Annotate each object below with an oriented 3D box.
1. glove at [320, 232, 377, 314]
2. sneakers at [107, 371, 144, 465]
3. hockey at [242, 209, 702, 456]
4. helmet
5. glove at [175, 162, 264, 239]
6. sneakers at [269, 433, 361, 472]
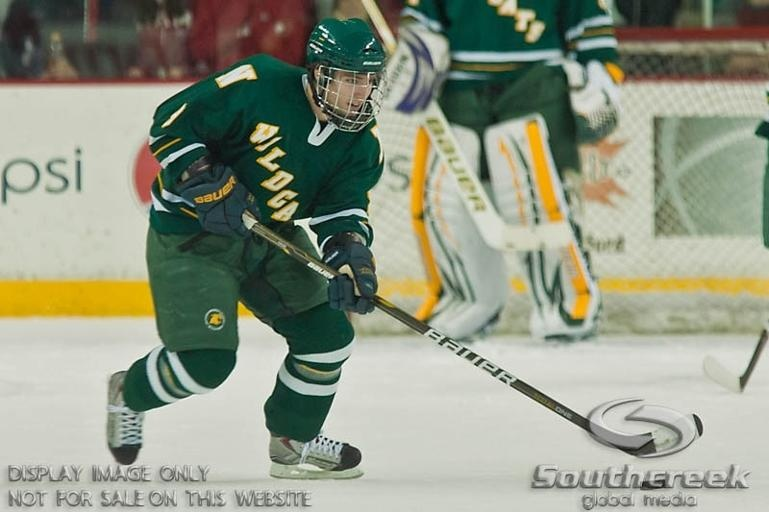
[{"bbox_3d":[-0.129,0.054,5.102,0.151,0.379,0.398,-7,-19,-7],"label":"glove"},{"bbox_3d":[-1.087,0.688,5.093,0.143,0.383,0.154,-3,8,-25],"label":"sneakers"},{"bbox_3d":[0.397,0.378,5.613,1.691,0.189,0.244,32,32,4],"label":"hockey"},{"bbox_3d":[-0.174,-0.773,4.991,0.307,0.389,0.404,-2,28,-42],"label":"helmet"},{"bbox_3d":[-0.682,-0.234,4.857,0.233,0.326,0.137,-32,15,-5],"label":"glove"},{"bbox_3d":[-0.320,0.825,5.189,0.424,0.255,0.150,0,11,-7],"label":"sneakers"}]
